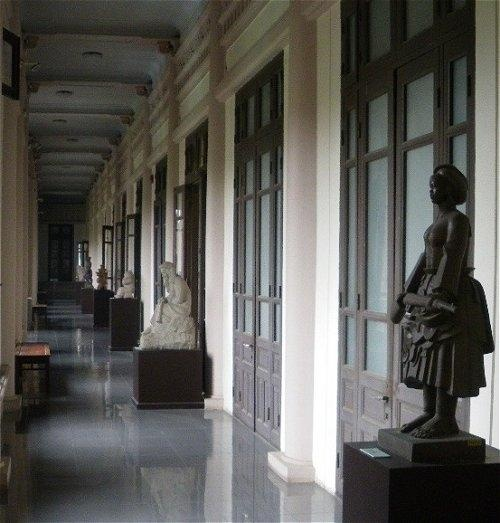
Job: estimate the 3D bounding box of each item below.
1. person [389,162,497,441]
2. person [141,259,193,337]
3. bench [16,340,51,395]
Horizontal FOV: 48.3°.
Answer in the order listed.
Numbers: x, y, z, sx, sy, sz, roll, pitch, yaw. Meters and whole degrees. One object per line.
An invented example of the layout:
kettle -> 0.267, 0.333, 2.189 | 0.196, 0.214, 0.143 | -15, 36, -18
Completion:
person -> 0.792, 0.173, 2.386 | 0.292, 1.144, 0.401 | 1, -2, -27
person -> -1.163, 0.624, 7.936 | 0.736, 1.227, 0.310 | 0, -2, -7
bench -> -3.720, 1.658, 9.486 | 0.460, 0.726, 1.690 | 1, 9, -22
